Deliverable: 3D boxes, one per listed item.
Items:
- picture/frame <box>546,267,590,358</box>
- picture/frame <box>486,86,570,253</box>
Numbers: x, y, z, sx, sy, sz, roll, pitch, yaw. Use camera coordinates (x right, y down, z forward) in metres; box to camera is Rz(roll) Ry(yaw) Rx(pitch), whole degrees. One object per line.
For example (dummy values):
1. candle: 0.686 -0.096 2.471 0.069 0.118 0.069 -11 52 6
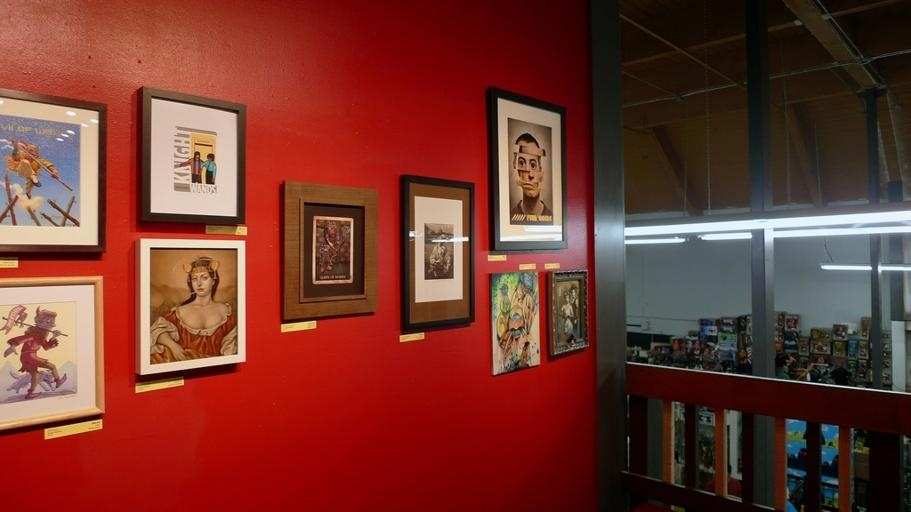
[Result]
1. picture/frame: 0.803 0.402 4.555 0.378 0.590 0.036 1 -1 -38
2. picture/frame: 0.498 -0.561 4.369 0.690 1.073 0.085 1 -1 -39
